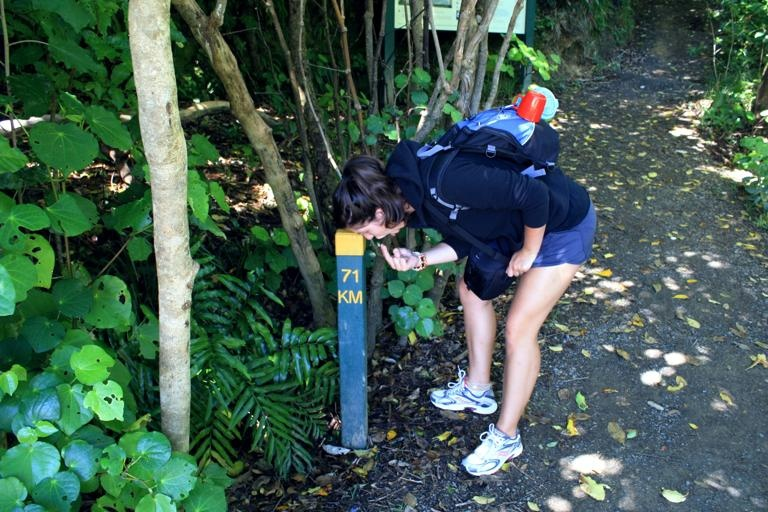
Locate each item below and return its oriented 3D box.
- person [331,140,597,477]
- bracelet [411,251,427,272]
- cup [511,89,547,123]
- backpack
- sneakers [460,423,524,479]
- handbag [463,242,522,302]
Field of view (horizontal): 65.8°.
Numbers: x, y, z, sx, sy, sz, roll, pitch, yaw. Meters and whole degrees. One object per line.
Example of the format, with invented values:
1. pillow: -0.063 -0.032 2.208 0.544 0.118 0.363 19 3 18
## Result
1. person: 0.472 0.411 3.842 1.499 1.848 1.013 -18 35 -1
2. bracelet: 0.223 0.029 3.764 0.082 0.112 0.058 -1 0 -12
3. cup: 0.808 -0.855 3.354 0.188 0.156 0.133 29 28 25
4. backpack: 0.591 -0.553 3.523 0.749 0.577 0.355 -15 -14 7
5. sneakers: 0.683 1.271 3.809 0.468 0.263 0.220 -37 63 2
6. handbag: 0.627 0.116 3.636 0.283 0.438 0.540 5 -8 -9
